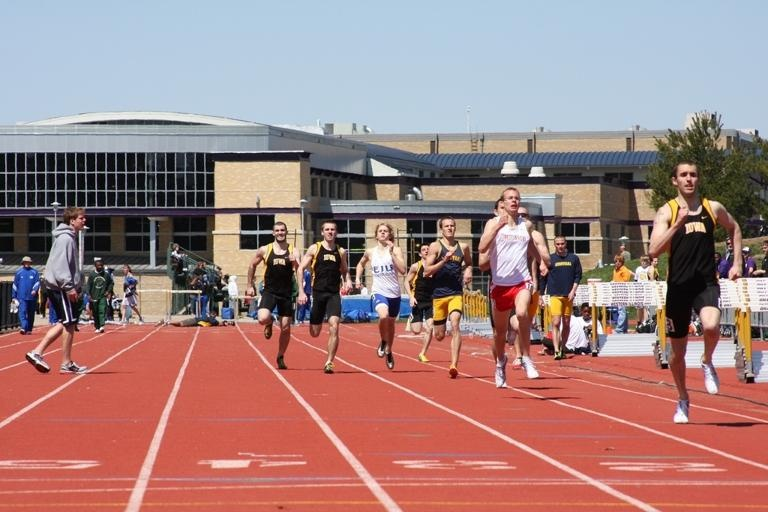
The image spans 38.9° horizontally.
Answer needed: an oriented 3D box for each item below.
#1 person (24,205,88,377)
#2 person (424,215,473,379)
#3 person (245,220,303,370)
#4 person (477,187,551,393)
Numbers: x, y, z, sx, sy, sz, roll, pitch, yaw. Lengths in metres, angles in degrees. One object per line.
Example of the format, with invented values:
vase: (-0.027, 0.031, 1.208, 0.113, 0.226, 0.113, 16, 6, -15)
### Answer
person: (-5.307, 0.545, 17.811, 1.124, 2.776, 1.048, 0, -2, 16)
person: (1.244, 0.654, 17.826, 0.912, 2.352, 1.024, 0, 0, -20)
person: (-1.856, 0.702, 18.267, 1.030, 2.525, 1.073, -1, -1, 3)
person: (1.676, 0.379, 15.626, 1.137, 2.780, 1.161, 0, 0, -15)
